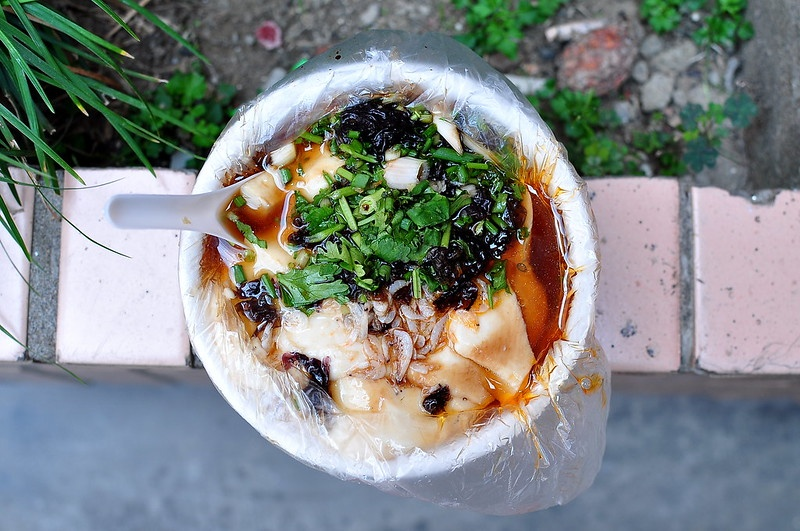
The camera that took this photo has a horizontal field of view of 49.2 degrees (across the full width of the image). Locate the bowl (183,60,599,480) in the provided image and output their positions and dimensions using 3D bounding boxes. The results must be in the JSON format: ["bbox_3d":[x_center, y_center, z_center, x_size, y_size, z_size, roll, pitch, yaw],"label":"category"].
[{"bbox_3d":[-0.004,0.012,2.318,1.147,0.179,1.118,0,87,-1],"label":"bowl"}]

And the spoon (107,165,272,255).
[{"bbox_3d":[-0.586,-0.152,2.319,0.346,0.094,0.144,1,89,-15],"label":"spoon"}]
